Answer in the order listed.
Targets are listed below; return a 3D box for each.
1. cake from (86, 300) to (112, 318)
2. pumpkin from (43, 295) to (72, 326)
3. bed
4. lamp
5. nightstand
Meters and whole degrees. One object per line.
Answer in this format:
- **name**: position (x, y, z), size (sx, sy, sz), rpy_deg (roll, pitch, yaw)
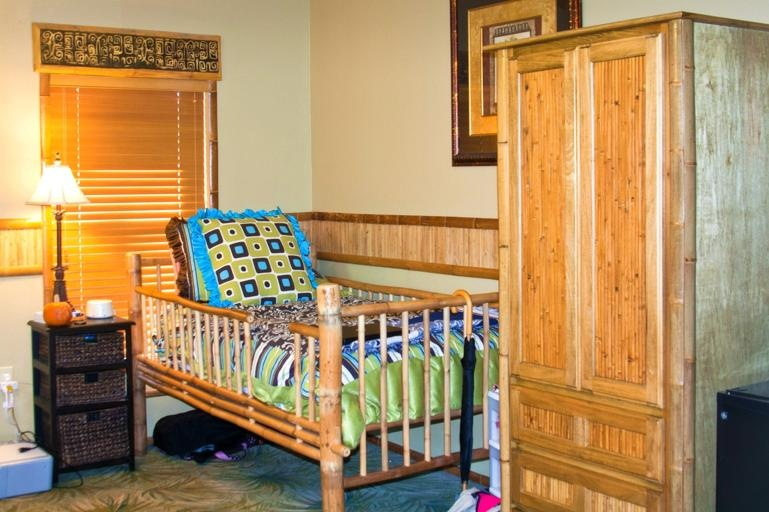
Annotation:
- **cake**: position (-1.687, 0.315, 3.871), size (0.117, 0.081, 0.117), rpy_deg (3, 5, 21)
- **pumpkin**: position (-1.848, 0.306, 3.699), size (0.147, 0.163, 0.138), rpy_deg (3, 7, 10)
- **bed**: position (-0.420, 0.517, 3.522), size (1.171, 0.940, 1.627), rpy_deg (-2, 5, -39)
- **lamp**: position (-1.937, -0.129, 3.916), size (0.312, 0.967, 0.634), rpy_deg (-4, 8, -28)
- **nightstand**: position (-1.758, 0.815, 3.785), size (0.612, 0.887, 0.389), rpy_deg (-2, 7, -12)
